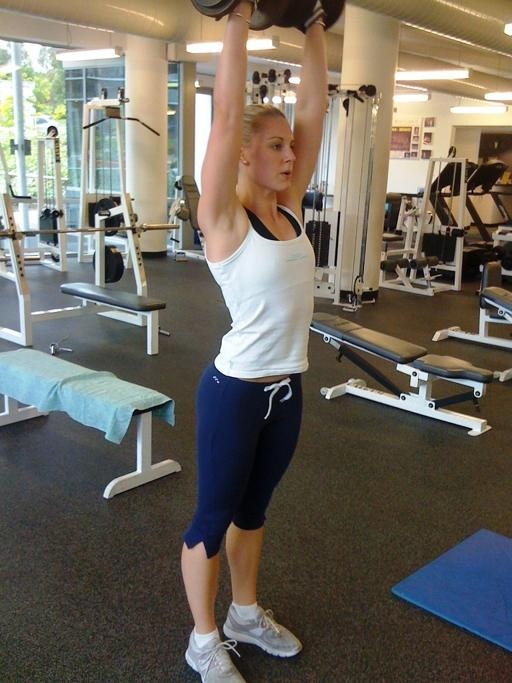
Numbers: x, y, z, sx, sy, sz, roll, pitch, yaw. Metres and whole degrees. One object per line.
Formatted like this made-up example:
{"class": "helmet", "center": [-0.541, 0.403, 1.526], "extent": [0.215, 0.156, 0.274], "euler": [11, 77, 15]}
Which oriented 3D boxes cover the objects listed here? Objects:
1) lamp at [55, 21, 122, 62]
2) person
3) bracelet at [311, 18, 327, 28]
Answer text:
{"class": "lamp", "center": [-2.012, -3.536, 6.523], "extent": [1.060, 0.254, 0.954], "euler": [-6, 40, -17]}
{"class": "person", "center": [-0.007, 0.115, 1.022], "extent": [0.241, 1.252, 0.299], "euler": [3, 11, 4]}
{"class": "bracelet", "center": [0.111, -0.566, 0.983], "extent": [0.019, 0.006, 0.015], "euler": [-3, 1, -38]}
